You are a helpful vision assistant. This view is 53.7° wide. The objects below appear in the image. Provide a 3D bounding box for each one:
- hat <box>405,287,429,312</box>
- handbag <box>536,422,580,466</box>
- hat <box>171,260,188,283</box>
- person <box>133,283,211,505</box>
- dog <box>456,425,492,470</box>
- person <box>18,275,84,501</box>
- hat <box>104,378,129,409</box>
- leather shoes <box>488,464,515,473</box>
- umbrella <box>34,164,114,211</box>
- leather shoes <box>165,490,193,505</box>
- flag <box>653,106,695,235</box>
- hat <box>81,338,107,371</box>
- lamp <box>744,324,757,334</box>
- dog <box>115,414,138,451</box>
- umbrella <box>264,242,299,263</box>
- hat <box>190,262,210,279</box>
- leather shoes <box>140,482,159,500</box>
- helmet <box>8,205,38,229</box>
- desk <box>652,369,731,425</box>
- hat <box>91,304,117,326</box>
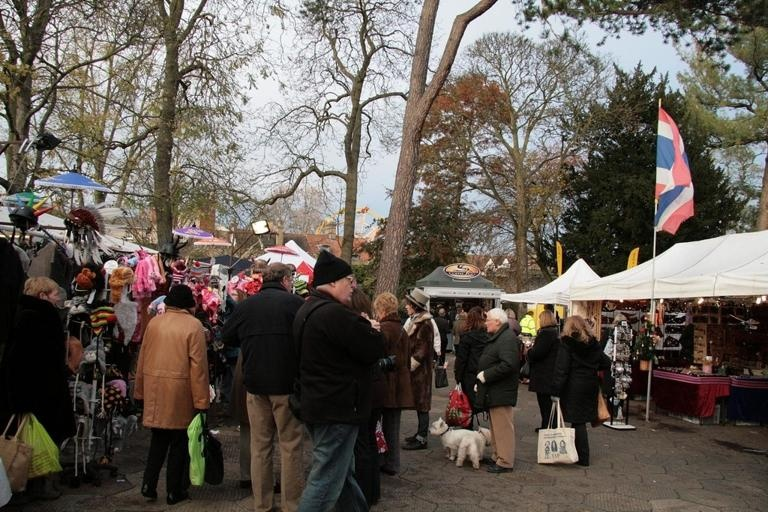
[{"bbox_3d":[0.607,0.814,12.998,0.349,0.162,0.419,30,-6,44],"label":"hat"},{"bbox_3d":[2.910,3.201,12.662,0.615,0.730,0.272,-5,-20,21],"label":"handbag"},{"bbox_3d":[-3.530,0.272,13.032,0.262,0.384,0.375,1,9,-15],"label":"hat"},{"bbox_3d":[-3.063,2.006,10.935,1.000,3.076,0.721,0,9,-21],"label":"person"},{"bbox_3d":[1.534,3.190,12.657,0.300,0.531,0.814,3,3,27],"label":"dog"},{"bbox_3d":[-4.793,1.883,10.971,0.792,3.103,0.910,-1,9,-21],"label":"person"},{"bbox_3d":[-4.016,2.095,11.312,0.288,0.405,0.154,4,-12,-13],"label":"hat"},{"bbox_3d":[1.896,3.480,12.352,0.414,0.184,0.155,11,-10,-2],"label":"leather shoes"},{"bbox_3d":[-5.910,-1.386,14.646,1.120,0.608,1.101,4,-6,1],"label":"umbrella"},{"bbox_3d":[-2.968,3.487,10.990,0.140,0.263,0.377,3,6,27],"label":"leather shoes"},{"bbox_3d":[6.287,-1.849,16.497,0.855,2.738,0.873,6,9,19],"label":"flag"},{"bbox_3d":[-4.294,1.456,11.249,0.333,0.453,0.365,0,9,-21],"label":"hat"},{"bbox_3d":[8.627,1.732,17.856,0.257,0.194,0.082,7,9,26],"label":"lamp"},{"bbox_3d":[-4.376,3.017,12.929,0.147,0.422,0.313,8,-4,-41],"label":"dog"},{"bbox_3d":[-3.085,-0.079,22.710,0.784,0.721,0.809,2,-12,8],"label":"umbrella"},{"bbox_3d":[-3.426,0.257,13.979,0.348,0.317,0.253,-1,1,5],"label":"hat"},{"bbox_3d":[-3.369,3.424,10.941,0.165,0.196,0.280,4,0,3],"label":"leather shoes"},{"bbox_3d":[-5.462,-0.569,11.481,0.363,0.381,0.353,0,9,-23],"label":"helmet"},{"bbox_3d":[6.643,3.256,16.327,0.875,1.100,1.577,2,-3,-23],"label":"desk"},{"bbox_3d":[-4.234,0.912,11.415,0.361,0.277,0.324,0,9,-22],"label":"hat"}]
